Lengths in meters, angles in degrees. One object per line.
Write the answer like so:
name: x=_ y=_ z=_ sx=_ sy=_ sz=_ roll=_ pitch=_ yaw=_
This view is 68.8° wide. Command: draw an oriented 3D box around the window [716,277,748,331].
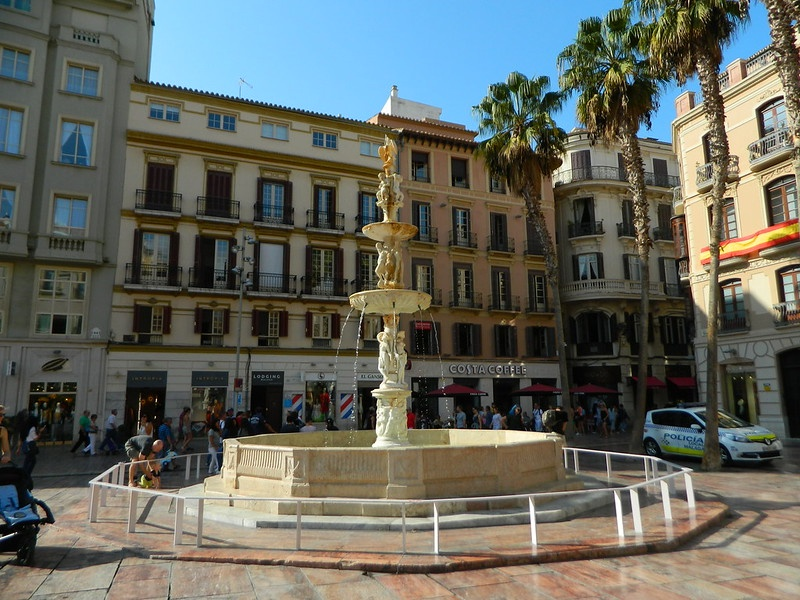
window: x=16.885 y=0.239 z=29.612 sx=0.251 sy=3.223 sz=1.800 roll=15 pitch=-24 yaw=-8

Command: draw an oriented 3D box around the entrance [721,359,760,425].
entrance: x=17.796 y=5.019 z=30.819 sx=1.746 sy=2.929 sz=2.301 roll=-12 pitch=-6 yaw=27

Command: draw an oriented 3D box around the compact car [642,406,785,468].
compact car: x=11.403 y=5.039 z=21.696 sx=1.635 sy=1.988 sz=4.157 roll=8 pitch=-14 yaw=-35

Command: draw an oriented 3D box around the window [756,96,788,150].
window: x=18.404 y=-8.753 z=28.915 sx=0.482 sy=2.473 sz=1.578 roll=3 pitch=-12 yaw=-16
